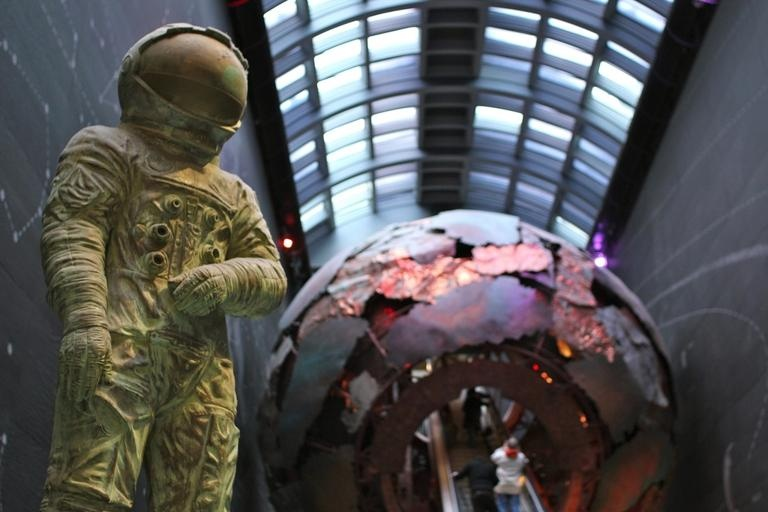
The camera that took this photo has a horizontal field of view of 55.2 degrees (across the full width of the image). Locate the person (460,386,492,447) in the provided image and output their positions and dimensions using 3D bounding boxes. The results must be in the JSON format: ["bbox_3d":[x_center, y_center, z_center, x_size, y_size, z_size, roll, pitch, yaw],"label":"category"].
[{"bbox_3d":[1.716,2.879,13.560,0.492,1.273,1.114,-1,-36,7],"label":"person"}]
